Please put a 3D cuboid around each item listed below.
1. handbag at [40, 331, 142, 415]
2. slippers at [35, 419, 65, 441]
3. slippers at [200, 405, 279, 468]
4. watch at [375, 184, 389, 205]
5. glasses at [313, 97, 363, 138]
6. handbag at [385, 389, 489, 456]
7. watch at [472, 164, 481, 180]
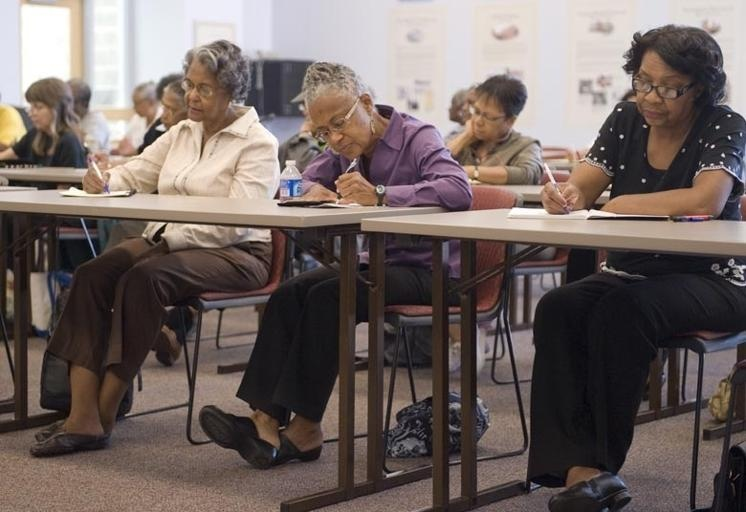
[{"bbox_3d":[-1.168,0.479,3.150,0.338,0.347,0.185,6,3,2],"label":"handbag"},{"bbox_3d":[-1.346,0.731,3.190,0.052,0.043,0.102,18,25,31],"label":"slippers"},{"bbox_3d":[-0.506,0.701,2.926,0.252,0.095,0.102,44,20,-12],"label":"slippers"},{"bbox_3d":[0.035,-0.240,3.001,0.044,0.070,0.073,4,18,2],"label":"watch"},{"bbox_3d":[-0.135,-0.575,3.074,0.048,0.163,0.152,38,-22,-17],"label":"glasses"},{"bbox_3d":[0.268,0.695,3.153,0.374,0.251,0.118,-18,-8,8],"label":"handbag"},{"bbox_3d":[0.632,-0.498,4.625,0.043,0.066,0.070,-3,9,13],"label":"watch"}]
